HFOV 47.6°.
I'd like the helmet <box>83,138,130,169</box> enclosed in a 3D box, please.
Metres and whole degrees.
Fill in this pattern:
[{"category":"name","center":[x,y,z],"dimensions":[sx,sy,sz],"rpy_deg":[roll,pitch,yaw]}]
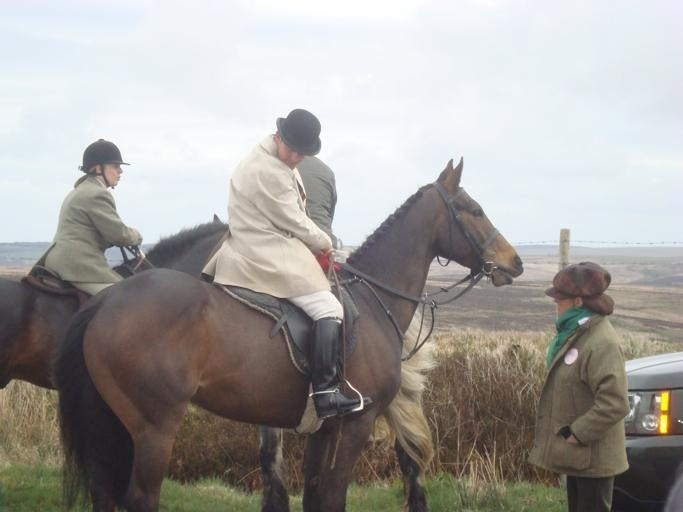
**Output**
[{"category":"helmet","center":[-2.570,-1.103,8.531],"dimensions":[0.521,0.377,0.397],"rpy_deg":[-1,5,-10]}]

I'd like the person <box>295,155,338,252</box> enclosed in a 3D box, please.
[{"category":"person","center":[-0.289,-0.495,7.880],"dimensions":[0.252,1.109,0.507],"rpy_deg":[0,-10,-28]}]

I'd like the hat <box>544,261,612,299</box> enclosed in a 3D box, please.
[{"category":"hat","center":[2.124,0.208,7.104],"dimensions":[0.573,0.342,0.434],"rpy_deg":[-4,7,25]}]
